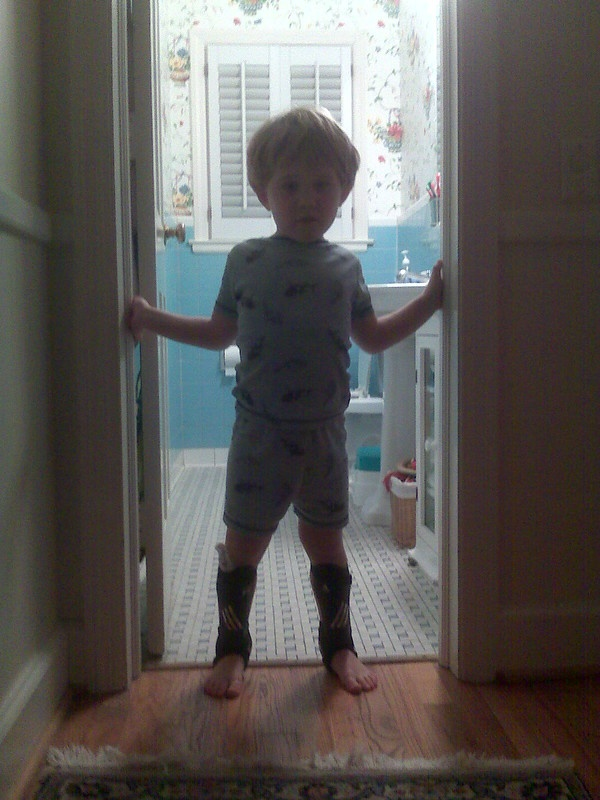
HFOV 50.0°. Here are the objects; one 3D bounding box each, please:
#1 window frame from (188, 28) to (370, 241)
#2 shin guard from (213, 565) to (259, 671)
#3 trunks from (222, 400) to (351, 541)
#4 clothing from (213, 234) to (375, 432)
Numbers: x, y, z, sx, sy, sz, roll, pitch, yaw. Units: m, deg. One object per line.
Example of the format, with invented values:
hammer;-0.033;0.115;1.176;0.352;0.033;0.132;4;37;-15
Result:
window frame;-0.090;-1.166;2.950;0.726;1.180;0.098;0;-18;-4
shin guard;-0.110;0.328;1.051;0.046;0.177;0.136;2;9;-4
trunks;-0.027;0.105;1.034;0.224;0.306;0.154;2;0;-24
clothing;-0.001;-0.098;1.003;0.197;0.320;0.150;0;-7;2
